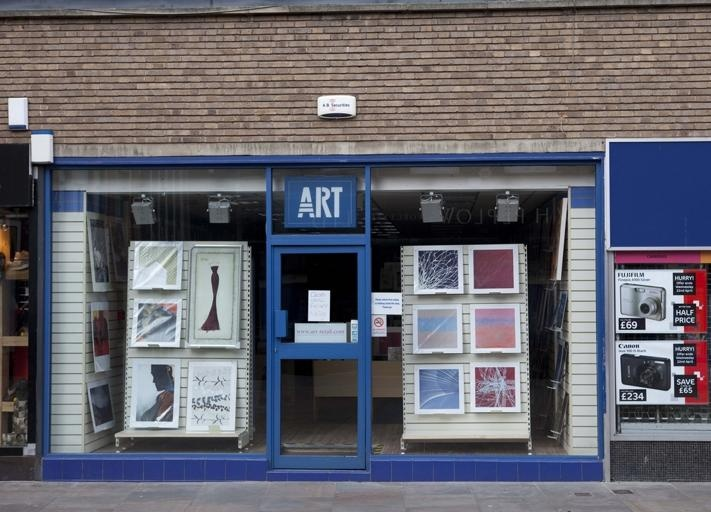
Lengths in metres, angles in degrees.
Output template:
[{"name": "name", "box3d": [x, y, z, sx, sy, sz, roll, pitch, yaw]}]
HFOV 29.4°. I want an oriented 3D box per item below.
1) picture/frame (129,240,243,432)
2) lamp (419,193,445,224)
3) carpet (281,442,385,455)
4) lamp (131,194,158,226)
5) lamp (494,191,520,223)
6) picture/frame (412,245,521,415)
[{"name": "picture/frame", "box3d": [-2.189, 1.054, 17.590, 1.615, 2.462, 0.080, 0, -4, 4]}, {"name": "lamp", "box3d": [1.005, -0.624, 17.529, 0.355, 0.394, 0.206, 1, 16, 9]}, {"name": "carpet", "box3d": [-0.474, 2.479, 17.300, 0.837, 0.115, 0.446, 2, -15, 1]}, {"name": "lamp", "box3d": [-2.793, -0.606, 17.684, 0.351, 0.451, 0.249, 0, 19, 6]}, {"name": "lamp", "box3d": [1.972, -0.621, 17.485, 0.304, 0.401, 0.113, 1, -4, -7]}, {"name": "picture/frame", "box3d": [1.461, 0.956, 17.462, 1.515, 2.187, 0.160, 1, -4, -1]}]
